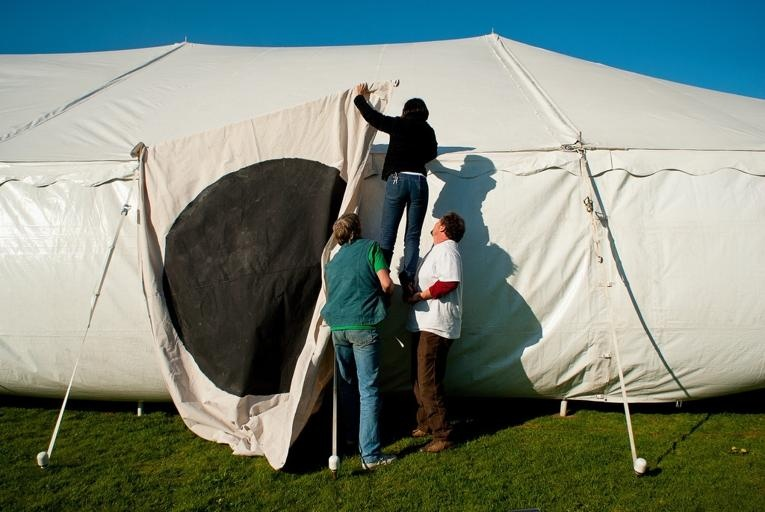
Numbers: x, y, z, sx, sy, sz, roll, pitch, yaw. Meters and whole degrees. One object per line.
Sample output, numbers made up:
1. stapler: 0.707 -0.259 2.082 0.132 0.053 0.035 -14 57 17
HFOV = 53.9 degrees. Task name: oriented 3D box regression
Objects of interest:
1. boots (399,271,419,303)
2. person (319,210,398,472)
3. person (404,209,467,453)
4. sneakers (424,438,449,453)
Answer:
1. boots: 0.252 0.330 7.844 0.179 0.331 0.123 -1 -13 19
2. person: -0.247 0.853 7.598 0.567 2.429 0.862 -10 17 -32
3. person: 0.516 0.796 7.789 0.584 2.351 0.687 1 14 5
4. sneakers: 0.553 1.971 7.816 0.228 0.114 0.127 3 -8 0
